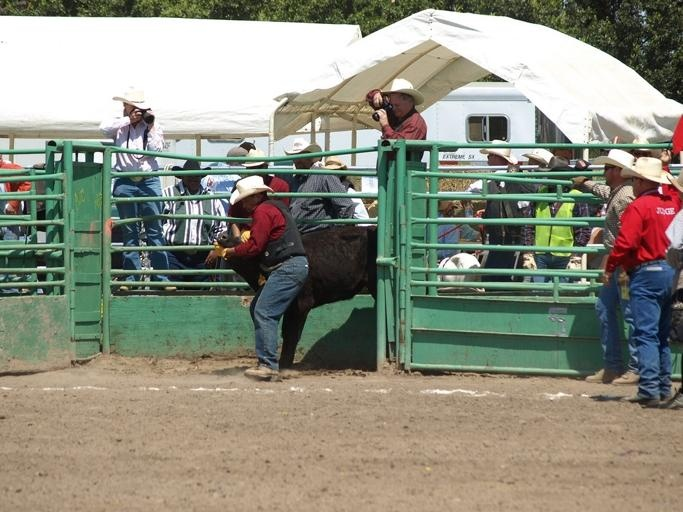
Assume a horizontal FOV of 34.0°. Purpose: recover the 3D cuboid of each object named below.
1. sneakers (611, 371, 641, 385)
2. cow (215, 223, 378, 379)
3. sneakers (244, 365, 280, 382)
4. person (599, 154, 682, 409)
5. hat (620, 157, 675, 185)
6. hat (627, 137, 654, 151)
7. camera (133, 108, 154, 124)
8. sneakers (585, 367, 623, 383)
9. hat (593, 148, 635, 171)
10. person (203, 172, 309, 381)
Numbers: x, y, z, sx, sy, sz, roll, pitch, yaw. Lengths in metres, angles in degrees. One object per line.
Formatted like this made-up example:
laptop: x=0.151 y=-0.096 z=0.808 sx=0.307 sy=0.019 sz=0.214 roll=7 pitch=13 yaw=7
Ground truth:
sneakers: x=3.092 y=1.342 z=12.177 sx=0.269 sy=0.112 sz=0.130 roll=1 pitch=-4 yaw=-2
cow: x=-0.300 y=0.401 z=12.895 sx=2.313 sy=1.268 sz=0.558 roll=-16 pitch=19 yaw=-38
sneakers: x=-0.892 y=1.317 z=12.353 sx=0.317 sy=0.129 sz=0.182 roll=8 pitch=-8 yaw=-13
person: x=3.181 y=0.253 z=11.788 sx=0.749 sy=2.615 sz=0.332 roll=0 pitch=0 yaw=-11
hat: x=3.219 y=-0.909 z=11.815 sx=0.370 sy=0.140 sz=0.349 roll=14 pitch=12 yaw=43
hat: x=3.631 y=-1.380 z=13.680 sx=0.330 sy=0.181 sz=0.461 roll=-2 pitch=7 yaw=-3
camera: x=-2.410 y=-1.727 z=13.677 sx=0.167 sy=0.128 sz=0.173 roll=-2 pitch=19 yaw=-10
sneakers: x=2.862 y=1.317 z=12.287 sx=0.370 sy=0.158 sz=0.151 roll=0 pitch=-1 yaw=13
hat: x=2.951 y=-1.057 z=11.990 sx=0.295 sy=0.109 sz=0.275 roll=12 pitch=-15 yaw=7
person: x=-0.851 y=0.244 z=12.388 sx=0.953 sy=2.265 sz=0.457 roll=0 pitch=0 yaw=-3
